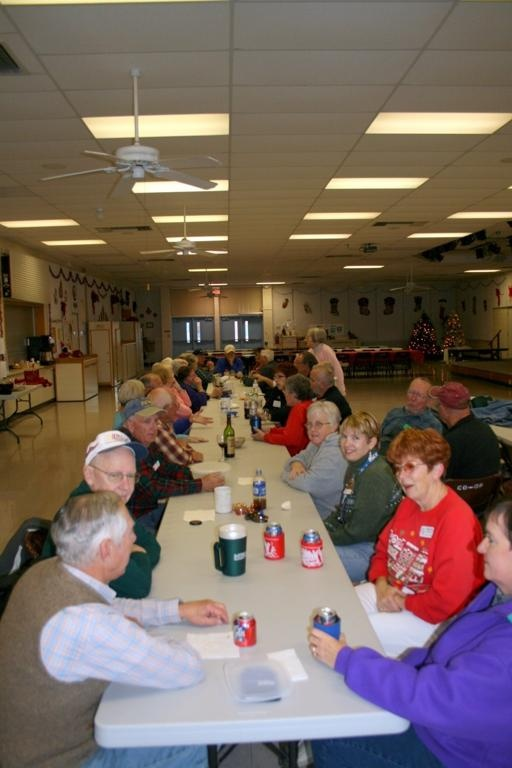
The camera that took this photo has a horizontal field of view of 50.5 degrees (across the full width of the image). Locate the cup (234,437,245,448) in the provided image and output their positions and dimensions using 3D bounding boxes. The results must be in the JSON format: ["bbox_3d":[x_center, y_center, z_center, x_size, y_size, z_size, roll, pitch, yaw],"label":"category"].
[{"bbox_3d":[-0.127,0.414,3.917,0.074,0.040,0.073,-1,1,0],"label":"cup"}]

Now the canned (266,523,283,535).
[{"bbox_3d":[0.059,0.514,1.930,0.042,0.038,0.041,0,-2,0],"label":"canned"}]

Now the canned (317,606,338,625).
[{"bbox_3d":[0.168,0.576,1.358,0.046,0.034,0.041,0,-2,-22],"label":"canned"}]

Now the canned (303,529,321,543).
[{"bbox_3d":[0.182,0.511,1.856,0.045,0.039,0.044,0,-1,6],"label":"canned"}]

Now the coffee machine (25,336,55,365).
[{"bbox_3d":[-4.427,-0.718,11.283,0.630,0.767,0.472,0,7,-1],"label":"coffee machine"}]

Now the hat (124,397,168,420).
[{"bbox_3d":[-0.596,0.141,2.925,0.175,0.061,0.111,-11,8,1],"label":"hat"}]

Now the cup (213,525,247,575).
[{"bbox_3d":[-0.100,0.556,1.797,0.090,0.141,0.132,0,-1,34],"label":"cup"}]

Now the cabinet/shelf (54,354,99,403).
[{"bbox_3d":[-3.915,-0.120,11.865,0.407,0.658,1.043,-2,7,-2],"label":"cabinet/shelf"}]

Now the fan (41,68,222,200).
[{"bbox_3d":[-0.746,-1.682,3.562,0.911,0.660,0.898,-13,20,-41],"label":"fan"}]

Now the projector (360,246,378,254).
[{"bbox_3d":[2.223,-2.751,11.013,0.288,0.092,0.446,-1,-2,2],"label":"projector"}]

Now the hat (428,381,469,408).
[{"bbox_3d":[1.242,0.063,3.605,0.163,0.124,0.223,-9,38,-13],"label":"hat"}]

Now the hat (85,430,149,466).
[{"bbox_3d":[-0.564,0.235,2.059,0.143,0.075,0.208,8,-19,-37],"label":"hat"}]

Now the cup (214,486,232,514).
[{"bbox_3d":[-0.149,0.515,2.454,0.112,0.122,0.111,-1,0,0],"label":"cup"}]

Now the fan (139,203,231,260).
[{"bbox_3d":[-1.057,-2.234,8.973,1.463,0.693,1.386,-1,-7,-4],"label":"fan"}]
